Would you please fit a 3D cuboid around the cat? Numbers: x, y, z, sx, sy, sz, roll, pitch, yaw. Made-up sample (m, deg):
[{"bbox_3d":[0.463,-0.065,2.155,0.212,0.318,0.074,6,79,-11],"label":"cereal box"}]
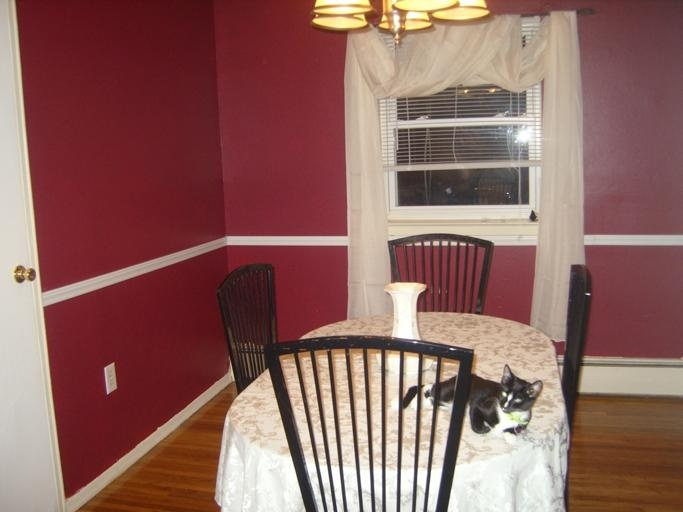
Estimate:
[{"bbox_3d":[0.441,0.474,1.865,0.236,0.236,0.427,-6,11,-38],"label":"cat"}]
